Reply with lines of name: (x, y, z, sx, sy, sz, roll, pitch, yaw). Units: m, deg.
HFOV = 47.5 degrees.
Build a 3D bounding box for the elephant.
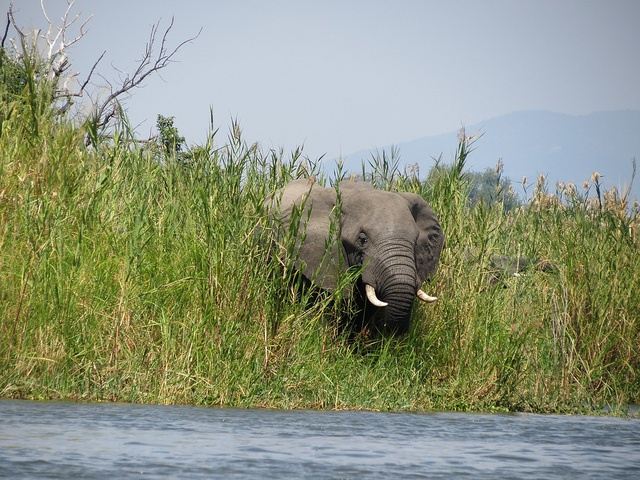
elephant: (0.299, 0.143, 7.356, 1.049, 1.202, 1.798, -1, -2, -24)
